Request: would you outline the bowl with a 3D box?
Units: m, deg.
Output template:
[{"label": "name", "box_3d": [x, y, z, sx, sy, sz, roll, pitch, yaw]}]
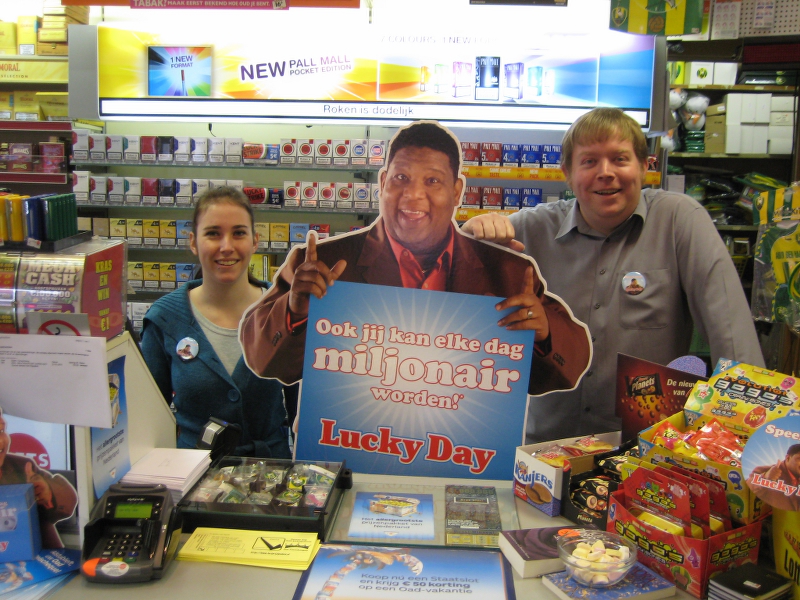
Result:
[{"label": "bowl", "box_3d": [0.527, 0.702, 1.678, 0.217, 0.089, 0.177, 10, 16, 26]}]
